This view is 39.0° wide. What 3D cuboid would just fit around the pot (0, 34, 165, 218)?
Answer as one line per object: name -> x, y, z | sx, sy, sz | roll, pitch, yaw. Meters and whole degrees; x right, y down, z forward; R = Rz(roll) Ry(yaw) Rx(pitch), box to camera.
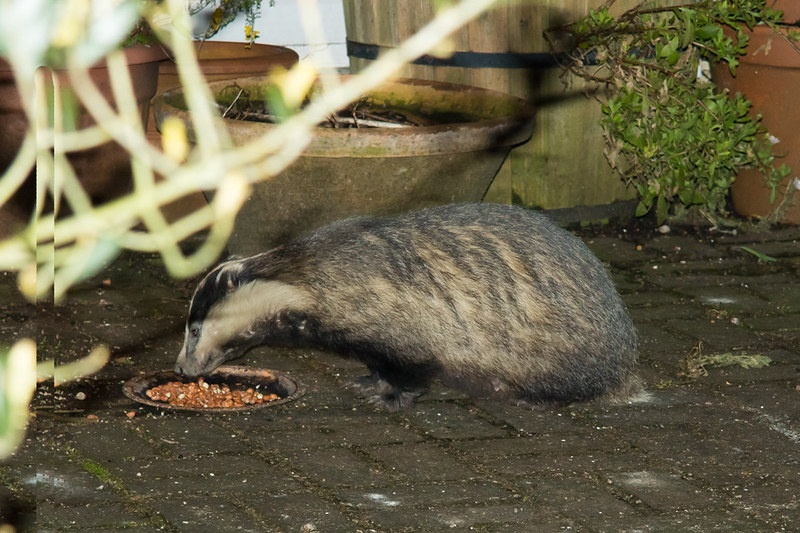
pot -> -2.423, -1.026, 8.619 | 1.605, 0.862, 1.323 | -2, 10, -7
